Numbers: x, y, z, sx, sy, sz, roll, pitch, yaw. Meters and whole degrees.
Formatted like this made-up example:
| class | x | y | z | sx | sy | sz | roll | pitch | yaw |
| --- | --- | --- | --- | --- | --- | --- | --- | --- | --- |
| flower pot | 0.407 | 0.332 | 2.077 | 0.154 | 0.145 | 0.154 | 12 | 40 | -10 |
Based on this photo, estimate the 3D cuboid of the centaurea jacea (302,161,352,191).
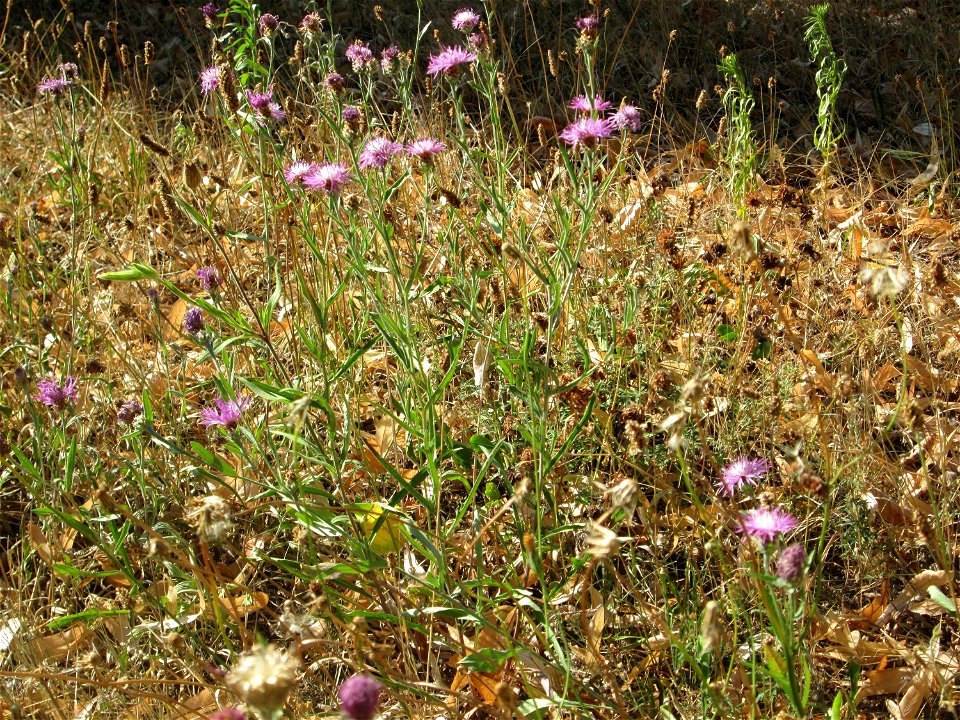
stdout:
| class | x | y | z | sx | sy | sz | roll | pitch | yaw |
| --- | --- | --- | --- | --- | --- | --- | --- | --- | --- |
| centaurea jacea | -0.380 | -0.479 | 2.271 | 0.088 | 0.069 | 0.087 | -31 | 37 | -32 |

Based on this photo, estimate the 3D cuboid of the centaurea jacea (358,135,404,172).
| class | x | y | z | sx | sy | sz | roll | pitch | yaw |
| --- | --- | --- | --- | --- | --- | --- | --- | --- | --- |
| centaurea jacea | -0.247 | -0.533 | 2.393 | 0.090 | 0.087 | 0.103 | 5 | 50 | 43 |
